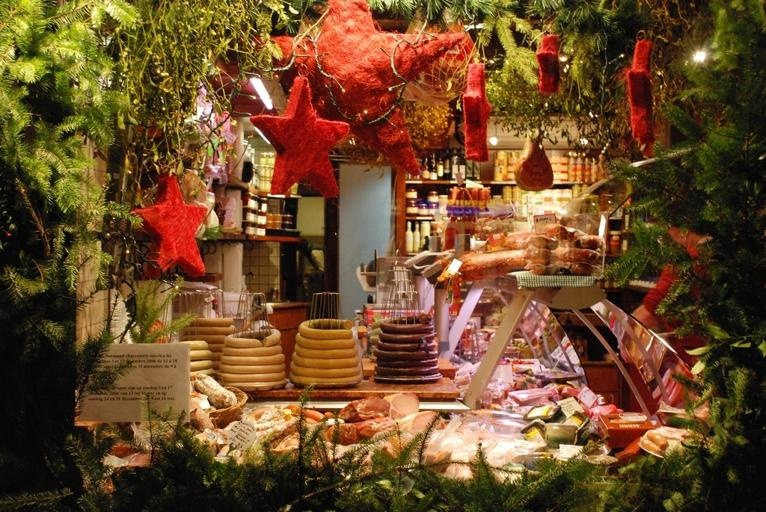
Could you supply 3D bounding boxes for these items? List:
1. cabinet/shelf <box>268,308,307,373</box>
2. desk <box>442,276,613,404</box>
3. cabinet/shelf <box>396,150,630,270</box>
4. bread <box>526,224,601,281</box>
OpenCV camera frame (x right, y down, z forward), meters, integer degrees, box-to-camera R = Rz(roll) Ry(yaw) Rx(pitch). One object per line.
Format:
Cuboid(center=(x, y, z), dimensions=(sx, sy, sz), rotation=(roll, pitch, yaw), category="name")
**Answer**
Cuboid(center=(-1.017, 0.801, 6.905), dimensions=(0.395, 0.626, 1.296), rotation=(1, 2, -6), category="cabinet/shelf")
Cuboid(center=(0.635, 0.374, 2.827), dimensions=(0.459, 0.637, 0.323), rotation=(15, 2, 8), category="desk")
Cuboid(center=(0.692, -0.120, 3.038), dimensions=(0.672, 0.313, 0.826), rotation=(1, -5, -22), category="cabinet/shelf")
Cuboid(center=(0.756, -0.027, 2.650), dimensions=(0.300, 0.211, 0.074), rotation=(2, 2, 15), category="bread")
